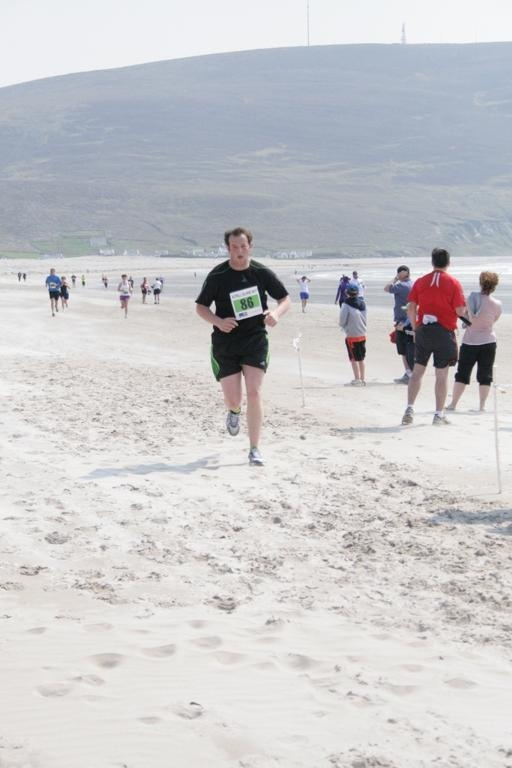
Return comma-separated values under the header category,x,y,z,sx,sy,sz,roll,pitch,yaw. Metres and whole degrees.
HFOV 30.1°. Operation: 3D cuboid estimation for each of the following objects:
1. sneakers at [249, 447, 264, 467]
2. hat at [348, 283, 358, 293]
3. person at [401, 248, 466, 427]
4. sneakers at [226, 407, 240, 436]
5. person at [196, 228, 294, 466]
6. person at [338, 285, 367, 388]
category,x,y,z,sx,sy,sz,roll,pitch,yaw
sneakers,-0.005,0.549,7.114,0.073,0.070,0.168,-1,4,-11
hat,1.278,-1.264,12.514,0.116,0.128,0.121,-2,26,3
person,1.790,-0.486,9.485,0.561,1.733,1.596,4,9,10
sneakers,-0.175,0.312,7.661,0.098,0.248,0.114,-3,7,-14
person,-0.119,-0.323,7.348,0.709,1.785,1.091,2,9,-1
person,1.303,-0.682,12.797,0.389,1.341,0.550,3,9,6
